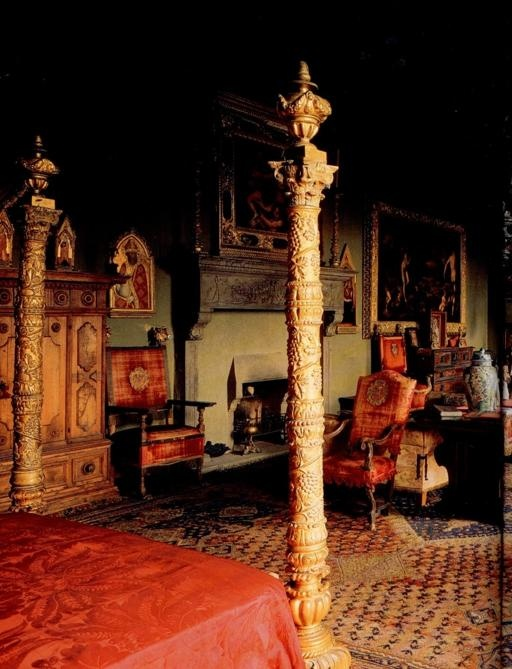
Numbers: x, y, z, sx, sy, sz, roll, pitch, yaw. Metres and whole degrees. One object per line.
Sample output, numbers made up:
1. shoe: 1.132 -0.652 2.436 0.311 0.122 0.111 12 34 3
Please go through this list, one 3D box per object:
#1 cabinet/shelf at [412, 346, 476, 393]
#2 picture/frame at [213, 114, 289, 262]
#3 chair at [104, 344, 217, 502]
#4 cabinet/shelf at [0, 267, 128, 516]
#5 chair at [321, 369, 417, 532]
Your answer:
1. cabinet/shelf: 2.993 0.596 10.451 0.381 0.730 1.503 1 1 41
2. picture/frame: -0.023 -1.568 7.207 0.215 1.479 1.123 1 1 38
3. chair: -0.879 0.738 5.750 0.787 1.062 0.884 6 4 31
4. cabinet/shelf: -1.508 0.431 5.071 0.267 1.824 1.097 1 1 33
5. chair: 0.806 0.881 5.090 0.882 1.021 0.837 -2 5 -5
